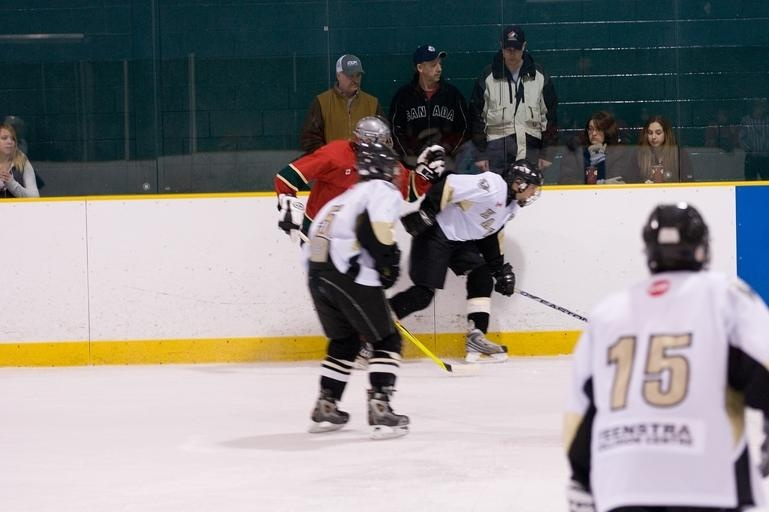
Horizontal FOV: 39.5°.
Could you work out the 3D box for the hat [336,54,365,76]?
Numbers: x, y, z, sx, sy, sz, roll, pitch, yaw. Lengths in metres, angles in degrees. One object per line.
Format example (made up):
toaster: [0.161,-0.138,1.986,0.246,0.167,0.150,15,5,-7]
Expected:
hat: [-0.288,-1.540,8.609,0.173,0.172,0.256,-5,11,-21]

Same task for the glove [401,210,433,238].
glove: [0.257,-0.259,8.305,0.217,0.186,0.174,-32,3,-7]

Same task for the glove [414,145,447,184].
glove: [0.373,-0.677,8.029,0.201,0.273,0.124,22,-10,35]

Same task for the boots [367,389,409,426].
boots: [0.011,0.971,6.720,0.295,0.233,0.097,4,-5,-22]

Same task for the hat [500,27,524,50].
hat: [1.037,-1.760,8.630,0.143,0.111,0.207,4,32,3]

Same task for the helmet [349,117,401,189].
helmet: [-0.094,-0.659,6.882,0.276,0.402,0.433,-11,-11,-1]

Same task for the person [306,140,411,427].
person: [-0.174,0.215,6.745,0.605,1.805,0.512,-2,10,-4]

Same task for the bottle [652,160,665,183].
bottle: [2.239,-0.690,8.674,0.136,0.219,0.141,-1,3,0]

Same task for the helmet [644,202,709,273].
helmet: [1.326,-0.019,4.965,0.340,0.396,0.434,-1,-9,11]

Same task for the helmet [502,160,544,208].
helmet: [1.082,-0.562,8.379,0.344,0.383,0.306,15,10,11]

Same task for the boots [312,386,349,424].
boots: [-0.337,0.959,6.788,0.305,0.222,0.101,18,-7,-36]

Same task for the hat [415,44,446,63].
hat: [0.364,-1.601,8.555,0.216,0.123,0.156,-4,20,22]

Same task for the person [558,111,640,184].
person: [1.737,-0.910,8.765,0.560,0.844,0.365,0,5,4]

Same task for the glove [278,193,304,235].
glove: [-0.682,-0.307,7.859,0.208,0.269,0.117,1,-4,-15]
